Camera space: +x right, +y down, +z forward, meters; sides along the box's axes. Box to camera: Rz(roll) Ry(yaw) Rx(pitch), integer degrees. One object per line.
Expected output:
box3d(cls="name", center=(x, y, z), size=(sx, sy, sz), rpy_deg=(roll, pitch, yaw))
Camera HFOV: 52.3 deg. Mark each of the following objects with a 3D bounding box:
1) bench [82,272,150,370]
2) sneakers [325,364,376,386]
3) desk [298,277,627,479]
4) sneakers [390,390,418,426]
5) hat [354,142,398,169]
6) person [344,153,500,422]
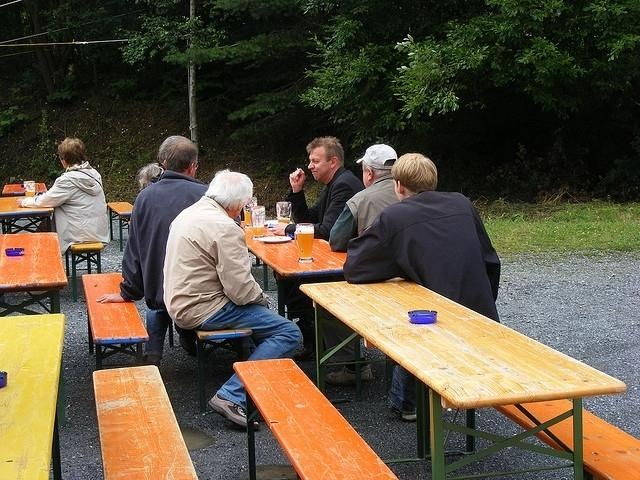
box3d(cls="bench", center=(-1.585, 0.812, 5.041), size=(0.373, 0.680, 1.587), rpy_deg=(-7, 13, -21))
box3d(cls="sneakers", center=(0.218, 1.038, 4.962), size=(0.398, 0.158, 0.142), rpy_deg=(-1, -2, -4))
box3d(cls="desk", center=(0.644, 0.734, 3.324), size=(0.885, 0.597, 1.562), rpy_deg=(-5, 12, -17))
box3d(cls="sneakers", center=(0.551, 1.145, 4.364), size=(0.142, 0.200, 0.214), rpy_deg=(0, -1, -41))
box3d(cls="hat", center=(0.420, -0.640, 5.014), size=(0.180, 0.127, 0.251), rpy_deg=(-8, 11, -41))
box3d(cls="person", center=(0.665, 0.315, 4.283), size=(1.049, 1.605, 0.899), rpy_deg=(0, 5, 9))
